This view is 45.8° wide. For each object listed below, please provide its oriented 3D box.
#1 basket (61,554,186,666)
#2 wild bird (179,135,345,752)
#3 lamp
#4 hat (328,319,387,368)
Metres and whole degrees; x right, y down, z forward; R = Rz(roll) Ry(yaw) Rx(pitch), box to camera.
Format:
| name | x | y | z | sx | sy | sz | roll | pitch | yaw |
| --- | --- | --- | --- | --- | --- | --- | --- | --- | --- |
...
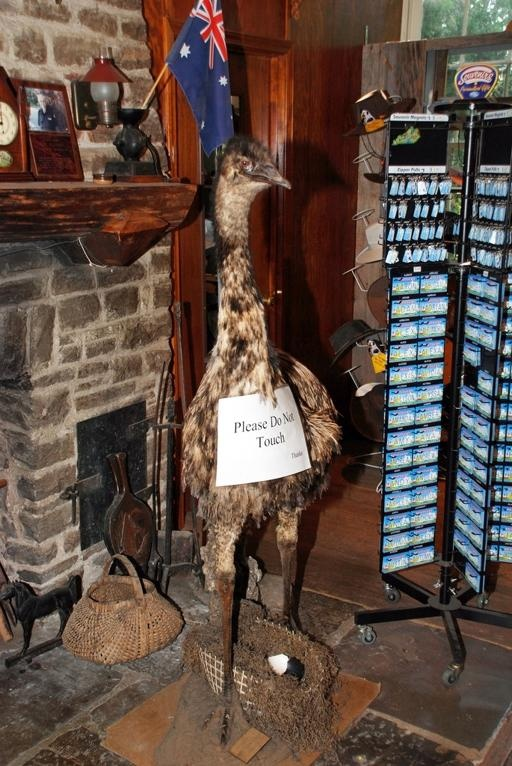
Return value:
| name | x | y | z | sx | sy | sz | roll | pitch | yaw |
| --- | --- | --- | --- | --- | --- | --- | --- | --- | --- |
| basket | -0.522 | 0.830 | 2.326 | 0.469 | 0.306 | 0.414 | 1 | 6 | -2 |
| wild bird | 0.001 | 0.203 | 1.820 | 0.379 | 1.717 | 0.503 | 5 | 10 | 30 |
| lamp | -0.570 | -1.072 | 2.216 | 0.198 | 0.279 | 0.181 | 14 | 24 | 29 |
| hat | 0.543 | -0.204 | 3.291 | 0.349 | 0.152 | 0.398 | -37 | -11 | 3 |
